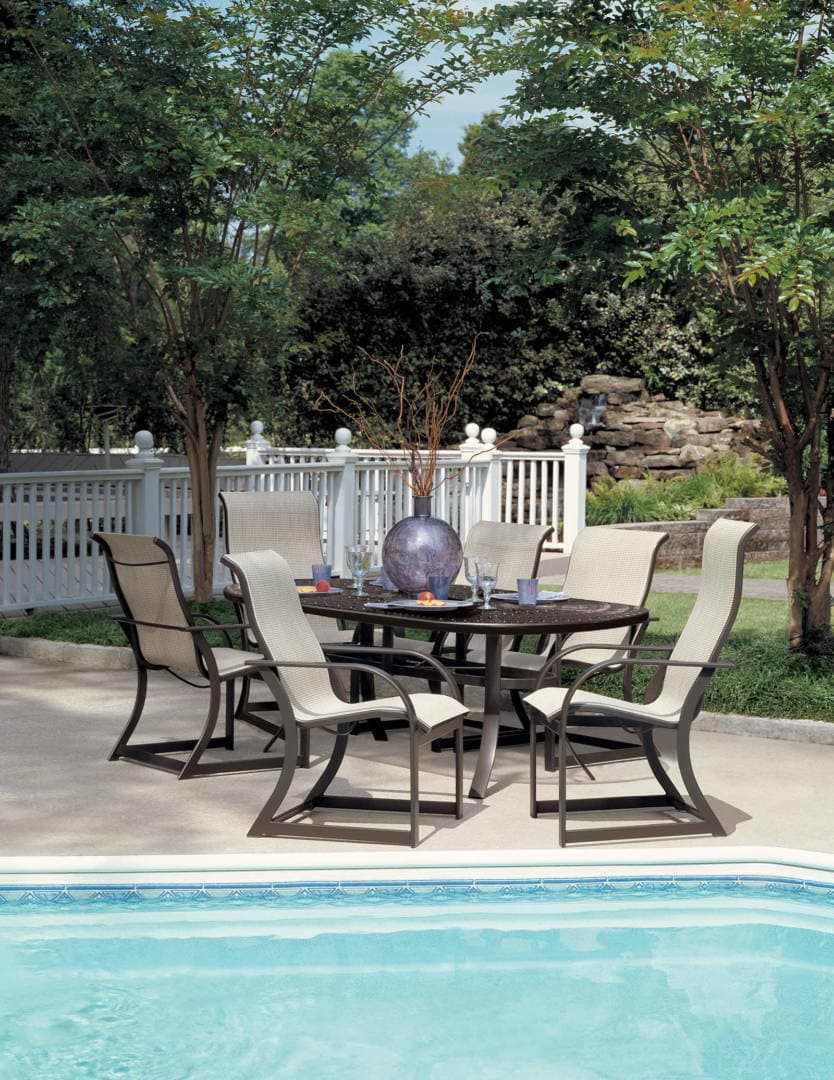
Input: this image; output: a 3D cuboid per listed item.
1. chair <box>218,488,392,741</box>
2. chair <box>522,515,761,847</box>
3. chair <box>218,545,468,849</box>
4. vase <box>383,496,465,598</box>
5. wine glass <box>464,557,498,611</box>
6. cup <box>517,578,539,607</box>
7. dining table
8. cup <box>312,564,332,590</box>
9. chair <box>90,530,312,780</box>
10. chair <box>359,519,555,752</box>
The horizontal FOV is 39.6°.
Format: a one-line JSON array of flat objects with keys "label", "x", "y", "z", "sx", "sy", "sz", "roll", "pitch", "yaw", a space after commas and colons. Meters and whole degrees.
[{"label": "chair", "x": -0.788, "y": 0.015, "z": 7.233, "sx": 0.733, "sy": 0.847, "sz": 1.306, "roll": -3, "pitch": 50, "yaw": -15}, {"label": "chair", "x": 0.859, "y": 0.541, "z": 4.610, "sx": 0.886, "sy": 1.147, "sz": 0.718, "roll": 0, "pitch": -1, "yaw": -4}, {"label": "chair", "x": -0.282, "y": 0.609, "z": 4.527, "sx": 0.915, "sy": 1.015, "sz": 0.667, "roll": 1, "pitch": 1, "yaw": 12}, {"label": "vase", "x": 0.029, "y": 0.037, "z": 5.869, "sx": 0.415, "sy": 0.499, "sz": 0.411, "roll": 5, "pitch": 7, "yaw": 24}, {"label": "wine glass", "x": 0.328, "y": 0.214, "z": 5.576, "sx": 0.209, "sy": 0.281, "sz": 0.187, "roll": -1, "pitch": 3, "yaw": 9}, {"label": "cup", "x": 0.527, "y": 0.250, "z": 5.523, "sx": 0.120, "sy": 0.122, "sz": 0.113, "roll": 0, "pitch": -1, "yaw": 0}, {"label": "dining table", "x": -0.259, "y": 0.731, "z": 5.923, "sx": 0.933, "sy": 0.657, "sz": 1.840, "roll": 16, "pitch": -7, "yaw": -14}, {"label": "cup", "x": -0.488, "y": 0.203, "z": 5.972, "sx": 0.121, "sy": 0.170, "sz": 0.117, "roll": 0, "pitch": -4, "yaw": 0}, {"label": "chair", "x": -1.055, "y": 0.486, "z": 5.905, "sx": 1.208, "sy": 1.482, "sz": 1.068, "roll": -2, "pitch": 4, "yaw": -40}, {"label": "chair", "x": 0.181, "y": 0.246, "z": 6.743, "sx": 0.708, "sy": 1.201, "sz": 1.036, "roll": 5, "pitch": -4, "yaw": 41}]
